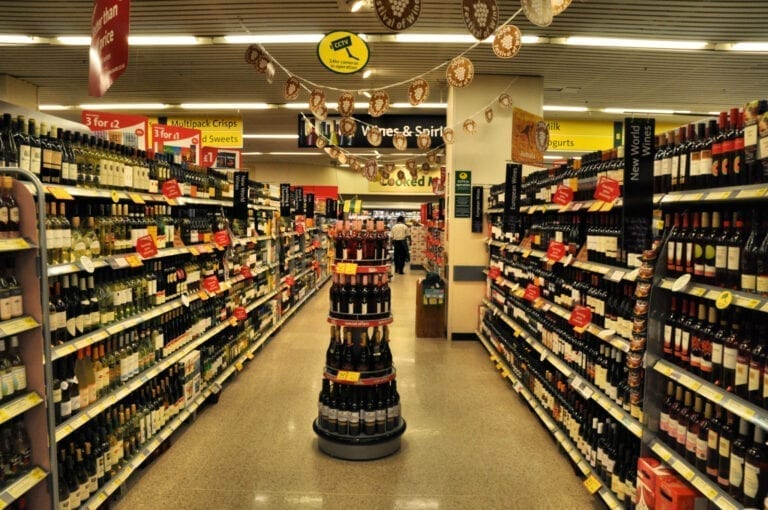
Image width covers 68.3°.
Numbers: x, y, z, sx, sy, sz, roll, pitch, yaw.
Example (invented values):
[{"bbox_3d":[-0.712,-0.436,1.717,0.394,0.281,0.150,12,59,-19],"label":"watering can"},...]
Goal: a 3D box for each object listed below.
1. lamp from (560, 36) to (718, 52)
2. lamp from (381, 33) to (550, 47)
[{"bbox_3d":[3.726,-3.156,8.487,2.269,0.103,0.360,-1,11,-5],"label":"lamp"},{"bbox_3d":[1.049,-3.190,8.409,2.156,0.124,0.343,1,11,5],"label":"lamp"}]
